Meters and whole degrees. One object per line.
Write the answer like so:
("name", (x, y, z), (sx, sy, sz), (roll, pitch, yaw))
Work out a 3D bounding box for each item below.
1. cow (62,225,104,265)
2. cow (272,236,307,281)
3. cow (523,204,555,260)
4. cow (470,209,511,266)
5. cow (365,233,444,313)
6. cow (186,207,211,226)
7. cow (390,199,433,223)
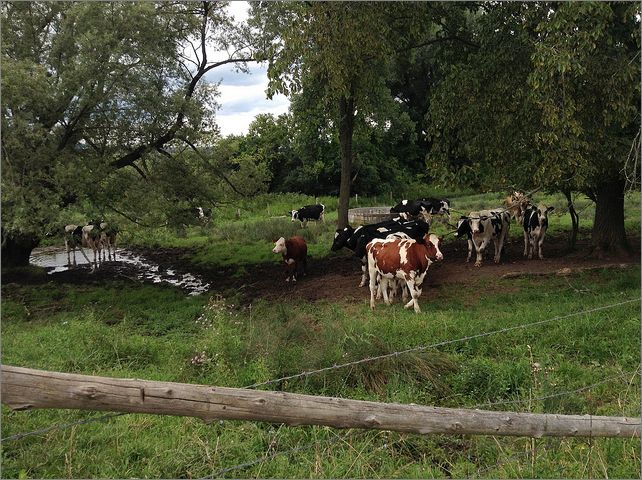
("cow", (-11.000, 0.139, 23.266), (2.453, 1.557, 0.655), (0, 7, 18))
("cow", (-1.003, 0.650, 18.174), (0.707, 1.651, 2.465), (-2, 4, 22))
("cow", (7.445, -0.304, 17.751), (0.791, 1.928, 1.495), (4, 1, 16))
("cow", (5.718, -0.068, 17.496), (1.888, 1.871, 0.808), (3, 2, -45))
("cow", (2.239, 0.913, 13.835), (0.895, 2.132, 2.688), (-3, 0, -36))
("cow", (-4.663, -0.920, 19.837), (0.609, 0.485, 1.478), (5, 1, 10))
("cow", (5.024, -1.582, 27.747), (2.563, 1.106, 1.215), (6, 2, 45))
